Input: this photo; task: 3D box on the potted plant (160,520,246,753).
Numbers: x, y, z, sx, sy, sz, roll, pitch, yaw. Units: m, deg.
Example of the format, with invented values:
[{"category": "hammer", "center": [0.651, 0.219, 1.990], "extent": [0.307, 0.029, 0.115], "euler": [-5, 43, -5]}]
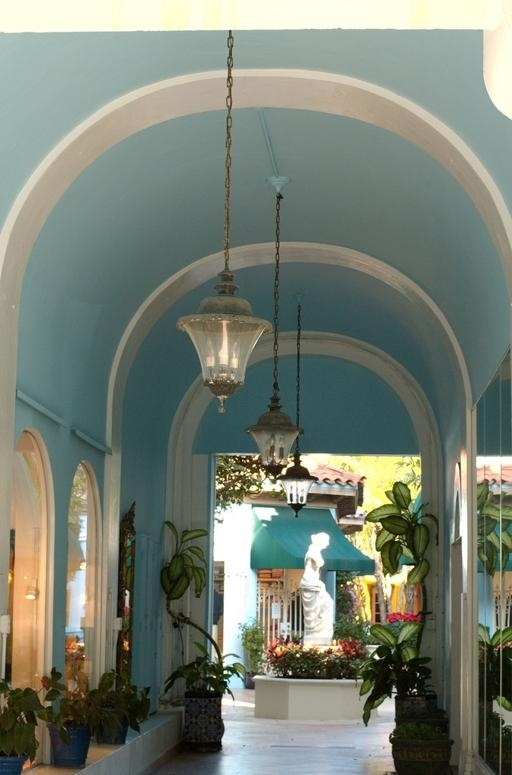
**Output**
[{"category": "potted plant", "center": [-0.722, 2.905, 9.501], "extent": [0.829, 2.607, 1.849], "euler": [-1, -13, -8]}]
